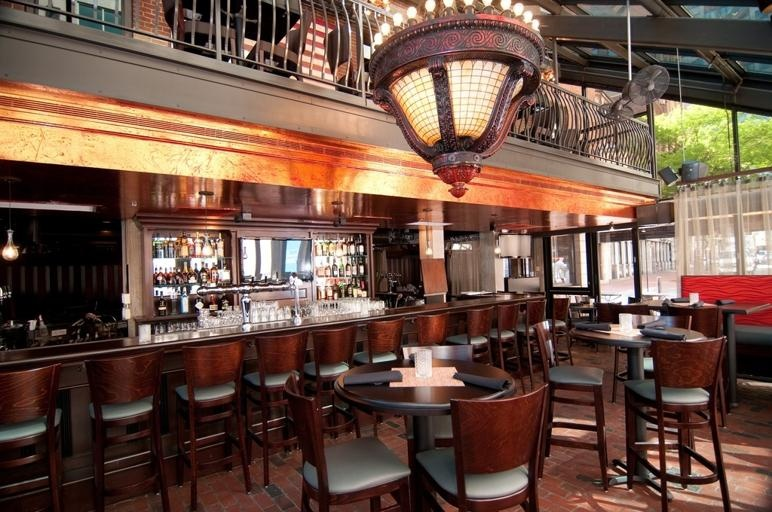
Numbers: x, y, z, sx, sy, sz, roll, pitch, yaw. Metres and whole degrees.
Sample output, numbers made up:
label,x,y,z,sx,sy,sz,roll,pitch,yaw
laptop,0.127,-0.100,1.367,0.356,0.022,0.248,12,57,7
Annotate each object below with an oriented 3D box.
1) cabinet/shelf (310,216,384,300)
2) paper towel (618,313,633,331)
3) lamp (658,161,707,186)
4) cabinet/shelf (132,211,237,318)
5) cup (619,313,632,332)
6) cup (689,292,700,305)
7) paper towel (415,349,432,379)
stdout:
label,x,y,z,sx,sy,sz,roll,pitch,yaw
cabinet/shelf,-0.846,0.015,10.931,1.849,1.983,0.836,5,-7,-32
paper towel,2.819,0.781,6.631,0.207,0.199,0.195,-3,-8,19
lamp,5.825,-1.614,10.786,0.575,0.508,1.247,-3,-1,5
cabinet/shelf,-3.477,0.135,9.281,2.075,1.622,0.554,-1,2,-20
cup,2.882,0.800,6.696,0.211,0.202,0.199,0,-8,0
cup,4.777,0.666,8.595,0.189,0.176,0.179,0,6,0
paper towel,0.374,1.079,5.573,0.161,0.266,0.101,-3,-1,-8
